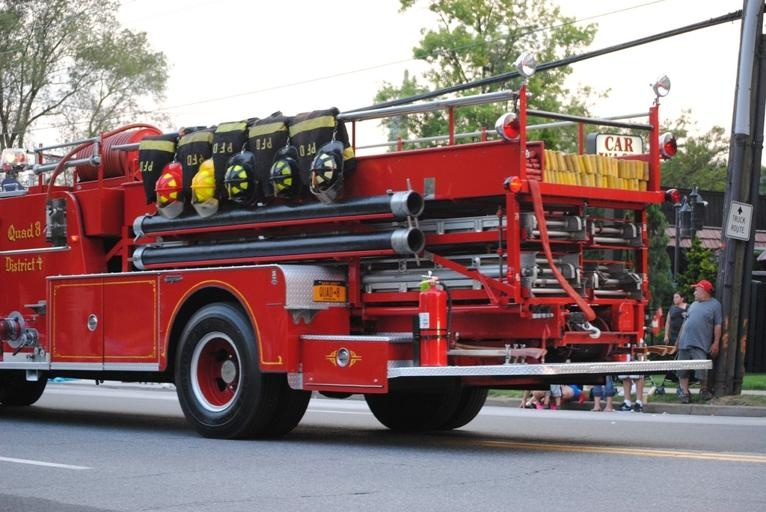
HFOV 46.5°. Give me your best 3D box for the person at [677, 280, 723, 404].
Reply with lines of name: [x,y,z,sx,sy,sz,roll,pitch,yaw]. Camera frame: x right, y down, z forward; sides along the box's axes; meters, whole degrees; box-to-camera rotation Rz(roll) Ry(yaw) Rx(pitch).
person: [5.935,1.532,16.623,0.769,2.412,0.942,3,3,18]

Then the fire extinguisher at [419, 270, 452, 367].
fire extinguisher: [0.529,0.801,10.905,0.427,0.981,0.421,3,-1,-25]
